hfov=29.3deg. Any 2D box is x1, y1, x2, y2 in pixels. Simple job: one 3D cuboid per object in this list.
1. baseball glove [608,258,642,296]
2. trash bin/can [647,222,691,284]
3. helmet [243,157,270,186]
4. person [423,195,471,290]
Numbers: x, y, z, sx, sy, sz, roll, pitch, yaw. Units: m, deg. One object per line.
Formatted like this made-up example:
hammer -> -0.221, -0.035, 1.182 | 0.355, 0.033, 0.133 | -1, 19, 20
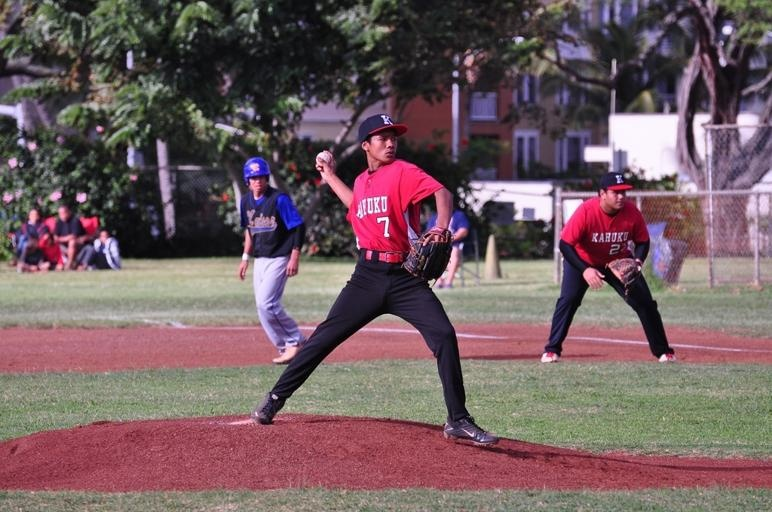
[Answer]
baseball glove -> 4.427, 0.243, 27.036 | 0.566, 0.533, 0.470 | 15, 30, 22
trash bin/can -> 6.776, -0.033, 35.977 | 0.916, 1.851, 0.814 | 5, 0, -18
helmet -> -2.420, -1.575, 27.301 | 0.429, 0.437, 0.551 | -7, 12, -9
person -> 1.601, -0.279, 36.179 | 1.079, 2.175, 0.948 | -2, 0, -30
